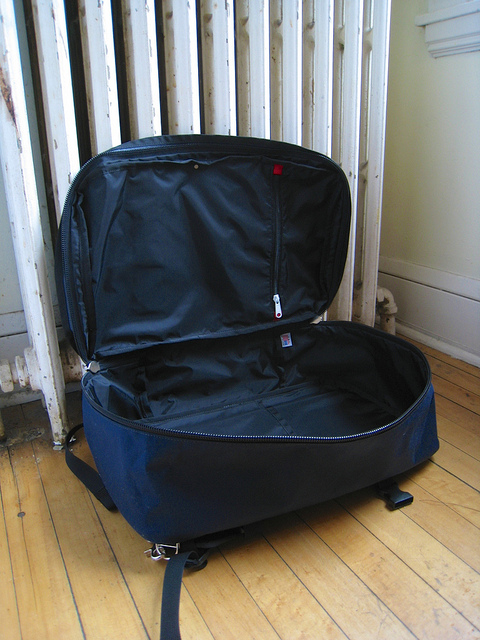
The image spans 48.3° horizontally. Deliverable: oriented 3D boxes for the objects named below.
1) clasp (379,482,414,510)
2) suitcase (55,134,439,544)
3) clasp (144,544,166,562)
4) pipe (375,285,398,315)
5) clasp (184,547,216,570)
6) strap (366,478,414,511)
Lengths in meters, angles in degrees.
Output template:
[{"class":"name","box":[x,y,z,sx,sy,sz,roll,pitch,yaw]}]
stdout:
[{"class":"clasp","box":[0.274,0.312,0.945,0.046,0.019,0.044,-11,23,-24]},{"class":"suitcase","box":[0.013,-0.008,0.988,0.620,0.663,0.474,-10,17,-15]},{"class":"clasp","box":[-0.126,0.358,0.822,0.030,0.010,0.027,-6,55,19]},{"class":"pipe","box":[0.407,-0.063,1.520,0.074,0.081,0.067,0,20,4]},{"class":"clasp","box":[-0.060,0.363,0.808,0.022,0.011,0.042,-5,18,25]},{"class":"strap","box":[0.269,0.307,0.942,0.038,0.030,0.077,-16,19,-16]}]
